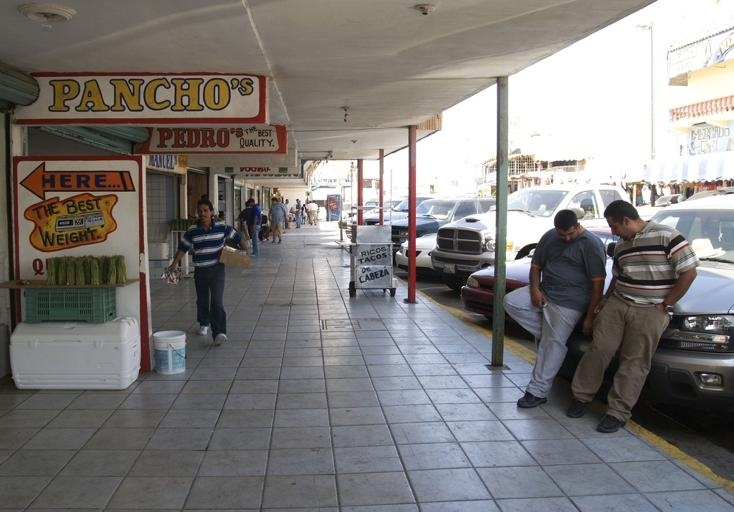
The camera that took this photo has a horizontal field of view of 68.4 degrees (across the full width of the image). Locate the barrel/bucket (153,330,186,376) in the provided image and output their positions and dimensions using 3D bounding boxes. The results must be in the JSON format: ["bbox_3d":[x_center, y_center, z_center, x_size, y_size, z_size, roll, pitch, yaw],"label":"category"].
[{"bbox_3d":[-2.453,1.204,6.878,0.561,0.506,0.498,1,5,1],"label":"barrel/bucket"}]

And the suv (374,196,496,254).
[{"bbox_3d":[2.143,-1.011,16.629,3.476,1.400,1.668,-5,4,-39],"label":"suv"}]

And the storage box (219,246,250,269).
[{"bbox_3d":[-1.984,0.028,8.195,0.575,0.285,0.368,10,-3,-5],"label":"storage box"}]

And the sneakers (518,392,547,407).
[{"bbox_3d":[1.778,1.571,5.928,0.357,0.137,0.130,2,-3,-21],"label":"sneakers"}]

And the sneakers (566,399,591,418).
[{"bbox_3d":[2.227,1.608,5.700,0.119,0.127,0.344,-3,-7,35],"label":"sneakers"}]

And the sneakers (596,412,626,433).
[{"bbox_3d":[2.431,1.655,5.376,0.134,0.113,0.335,-6,-6,43],"label":"sneakers"}]

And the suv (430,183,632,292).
[{"bbox_3d":[3.855,-0.505,12.436,4.286,1.761,2.315,-3,3,-25],"label":"suv"}]

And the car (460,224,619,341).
[{"bbox_3d":[3.228,0.242,9.303,3.309,1.080,1.376,0,-1,-29],"label":"car"}]

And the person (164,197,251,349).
[{"bbox_3d":[-2.372,0.207,8.114,1.073,2.157,1.017,-2,9,-15],"label":"person"}]
